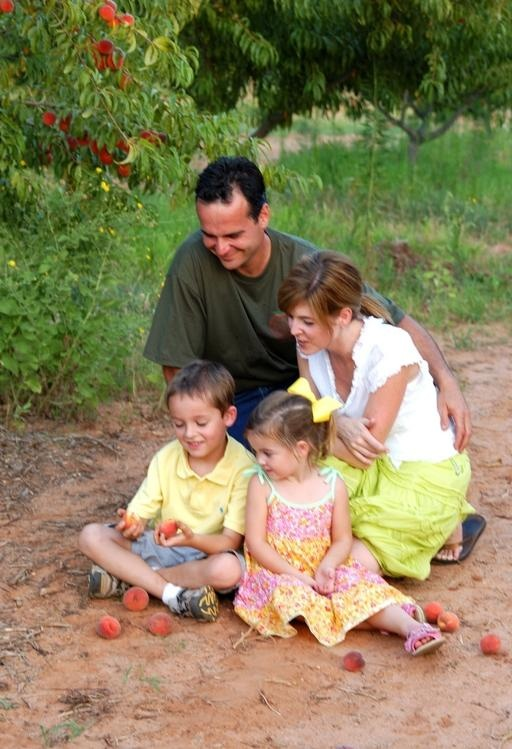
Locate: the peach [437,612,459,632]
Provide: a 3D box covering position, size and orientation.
[{"bbox_3d":[0.609,0.784,2.309,0.057,0.061,0.060,5,-22,-21],"label":"peach"}]

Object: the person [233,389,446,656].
[{"bbox_3d":[0.254,0.471,2.353,0.388,0.908,0.478,-7,9,-43],"label":"person"}]

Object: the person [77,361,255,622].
[{"bbox_3d":[-0.310,0.352,2.489,0.447,0.867,0.529,6,8,43],"label":"person"}]

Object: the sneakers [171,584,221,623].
[{"bbox_3d":[-0.199,0.739,2.330,0.148,0.130,0.098,-8,18,-1],"label":"sneakers"}]

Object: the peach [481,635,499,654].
[{"bbox_3d":[0.711,0.804,2.209,0.053,0.052,0.055,-7,7,33],"label":"peach"}]

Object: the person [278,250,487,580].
[{"bbox_3d":[0.402,0.175,2.688,0.868,1.170,0.556,-18,15,-42],"label":"person"}]

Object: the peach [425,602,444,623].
[{"bbox_3d":[0.579,0.775,2.379,0.055,0.070,0.062,5,-4,7],"label":"peach"}]

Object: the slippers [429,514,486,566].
[{"bbox_3d":[0.831,0.643,2.913,0.113,0.077,0.312,7,31,26],"label":"slippers"}]

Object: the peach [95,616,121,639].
[{"bbox_3d":[-0.439,0.759,2.187,0.058,0.060,0.060,18,44,29],"label":"peach"}]

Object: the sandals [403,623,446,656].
[{"bbox_3d":[0.489,0.778,2.120,0.083,0.083,0.112,-13,19,-17],"label":"sandals"}]

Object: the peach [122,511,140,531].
[{"bbox_3d":[-0.407,0.477,2.373,0.045,0.064,0.049,0,-17,-4],"label":"peach"}]

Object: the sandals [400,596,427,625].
[{"bbox_3d":[0.486,0.733,2.254,0.067,0.043,0.099,-16,20,-25],"label":"sandals"}]

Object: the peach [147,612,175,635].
[{"bbox_3d":[-0.295,0.778,2.257,0.080,0.068,0.061,-12,19,-12],"label":"peach"}]

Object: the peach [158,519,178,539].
[{"bbox_3d":[-0.270,0.481,2.265,0.053,0.055,0.054,-1,38,3],"label":"peach"}]

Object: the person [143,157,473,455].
[{"bbox_3d":[0.221,-0.270,3.174,1.099,1.353,1.342,-4,14,-30],"label":"person"}]

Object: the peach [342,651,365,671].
[{"bbox_3d":[0.282,0.829,2.098,0.062,0.051,0.042,-6,18,5],"label":"peach"}]
